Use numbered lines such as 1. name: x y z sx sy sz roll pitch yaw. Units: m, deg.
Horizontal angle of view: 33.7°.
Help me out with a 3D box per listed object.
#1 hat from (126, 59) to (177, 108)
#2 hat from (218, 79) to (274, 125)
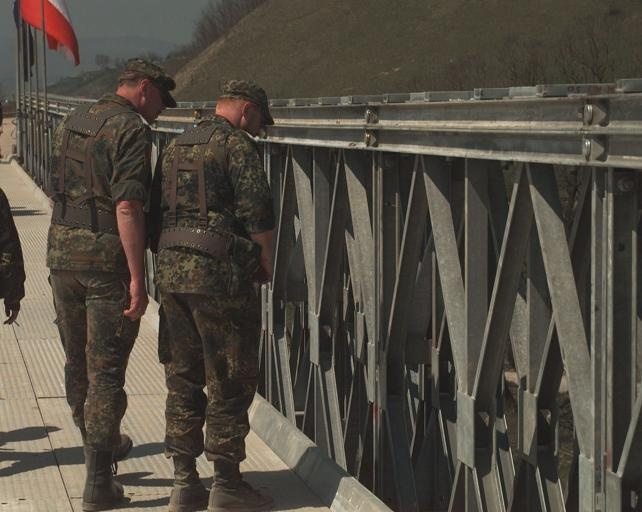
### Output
1. hat: -1.108 -1.150 7.007 0.438 0.200 0.335 22 -6 -7
2. hat: -0.417 -0.968 6.713 0.337 0.197 0.253 24 -12 -3
